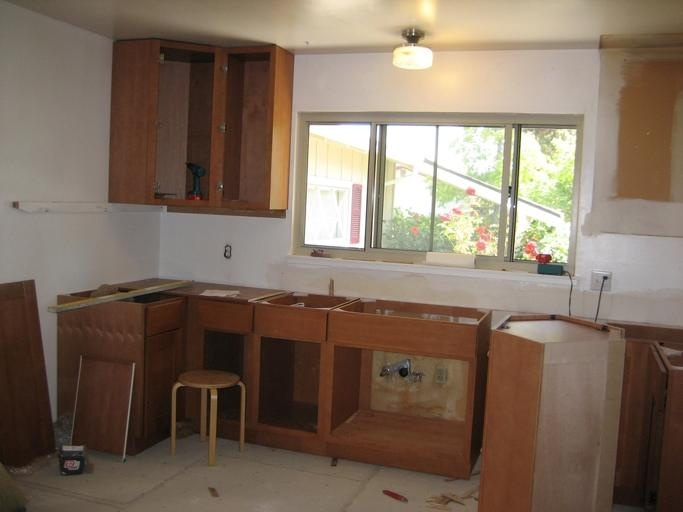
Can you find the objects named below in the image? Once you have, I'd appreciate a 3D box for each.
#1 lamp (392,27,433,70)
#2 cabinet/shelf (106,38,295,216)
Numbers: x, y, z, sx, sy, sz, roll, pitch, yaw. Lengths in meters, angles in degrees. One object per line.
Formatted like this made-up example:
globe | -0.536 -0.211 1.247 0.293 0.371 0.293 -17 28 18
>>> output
lamp | 0.531 -1.556 4.296 0.275 0.238 0.275 -16 25 -35
cabinet/shelf | -1.242 -1.161 4.962 1.352 1.318 0.439 3 2 6
